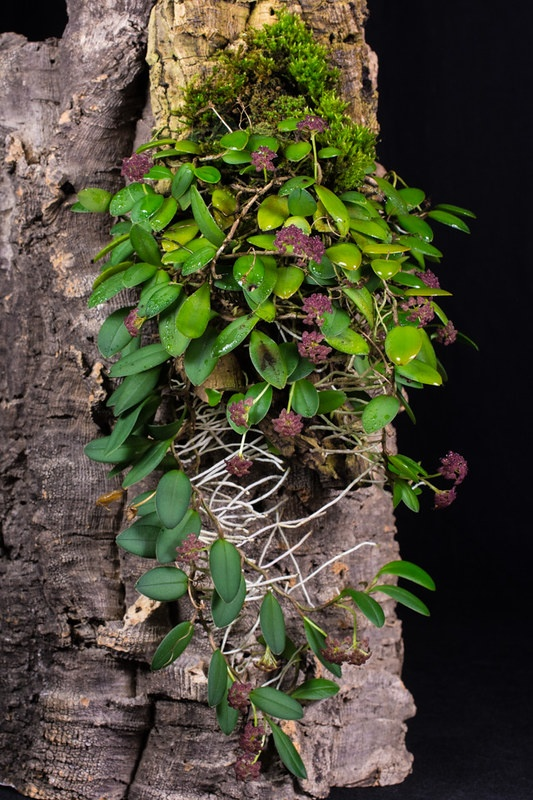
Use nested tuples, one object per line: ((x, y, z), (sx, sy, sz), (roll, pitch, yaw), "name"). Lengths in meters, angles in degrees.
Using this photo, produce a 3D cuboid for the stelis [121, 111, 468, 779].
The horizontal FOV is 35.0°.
((0.028, 0.110, 1.772), (0.782, 1.221, 0.515), (-4, 7, -5), "stelis")
